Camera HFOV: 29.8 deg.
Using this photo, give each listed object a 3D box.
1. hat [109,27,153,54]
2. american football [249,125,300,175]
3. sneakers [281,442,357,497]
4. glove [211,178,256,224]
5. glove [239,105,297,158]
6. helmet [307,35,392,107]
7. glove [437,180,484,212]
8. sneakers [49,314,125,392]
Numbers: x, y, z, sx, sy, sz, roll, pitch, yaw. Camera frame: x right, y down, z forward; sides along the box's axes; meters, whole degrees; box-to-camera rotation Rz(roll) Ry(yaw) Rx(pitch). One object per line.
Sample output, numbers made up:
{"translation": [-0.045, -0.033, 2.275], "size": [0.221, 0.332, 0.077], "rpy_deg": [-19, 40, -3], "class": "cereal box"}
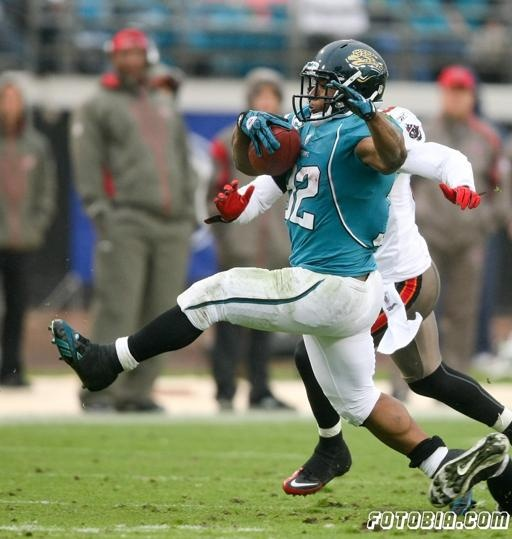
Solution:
{"translation": [-0.563, -1.020, 4.277], "size": [0.171, 0.139, 0.246], "rpy_deg": [1, -1, -9], "class": "hat"}
{"translation": [0.082, -0.466, 3.525], "size": [0.193, 0.163, 0.150], "rpy_deg": [1, 29, -18], "class": "american football"}
{"translation": [0.254, 0.821, 3.943], "size": [0.272, 0.234, 0.187], "rpy_deg": [1, -1, 3], "class": "sneakers"}
{"translation": [-0.097, -0.274, 3.823], "size": [0.153, 0.112, 0.230], "rpy_deg": [1, -1, 16], "class": "glove"}
{"translation": [0.032, -0.506, 3.564], "size": [0.212, 0.161, 0.065], "rpy_deg": [40, -11, 25], "class": "glove"}
{"translation": [0.346, -0.737, 3.550], "size": [0.367, 0.222, 0.247], "rpy_deg": [-1, 8, -16], "class": "helmet"}
{"translation": [0.771, -0.277, 3.640], "size": [0.146, 0.112, 0.309], "rpy_deg": [1, -1, 10], "class": "glove"}
{"translation": [-0.632, 0.320, 3.566], "size": [0.271, 0.205, 0.118], "rpy_deg": [1, -1, -10], "class": "sneakers"}
